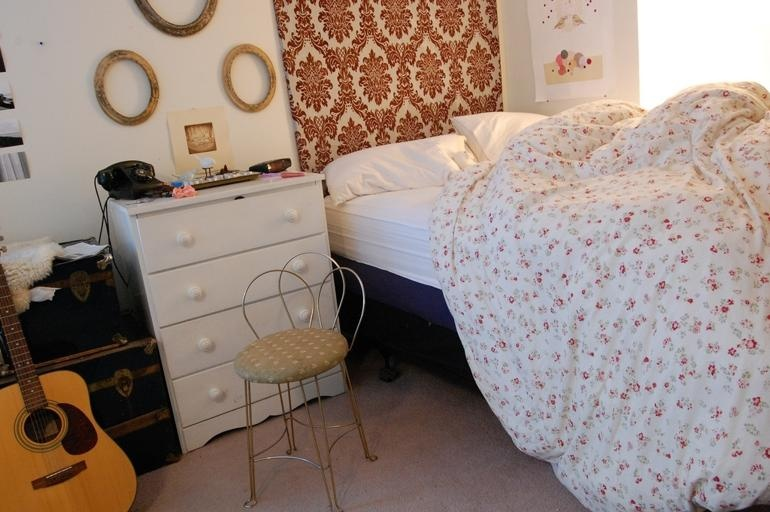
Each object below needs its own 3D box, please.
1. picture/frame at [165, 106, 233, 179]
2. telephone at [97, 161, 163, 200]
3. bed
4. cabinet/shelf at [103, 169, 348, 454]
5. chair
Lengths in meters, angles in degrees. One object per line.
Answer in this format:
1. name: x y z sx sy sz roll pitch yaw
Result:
1. picture/frame: -1.025 -0.656 3.346 0.348 0.359 0.006 -12 46 -19
2. telephone: -1.228 -0.398 2.883 0.279 0.117 0.206 11 17 31
3. bed: 0.276 -0.048 3.387 1.091 0.847 1.123 -20 25 -37
4. cabinet/shelf: -0.606 0.339 3.213 1.055 1.244 0.748 -13 -6 -3
5. chair: -0.399 0.513 2.839 0.705 0.946 1.023 -7 19 -2
